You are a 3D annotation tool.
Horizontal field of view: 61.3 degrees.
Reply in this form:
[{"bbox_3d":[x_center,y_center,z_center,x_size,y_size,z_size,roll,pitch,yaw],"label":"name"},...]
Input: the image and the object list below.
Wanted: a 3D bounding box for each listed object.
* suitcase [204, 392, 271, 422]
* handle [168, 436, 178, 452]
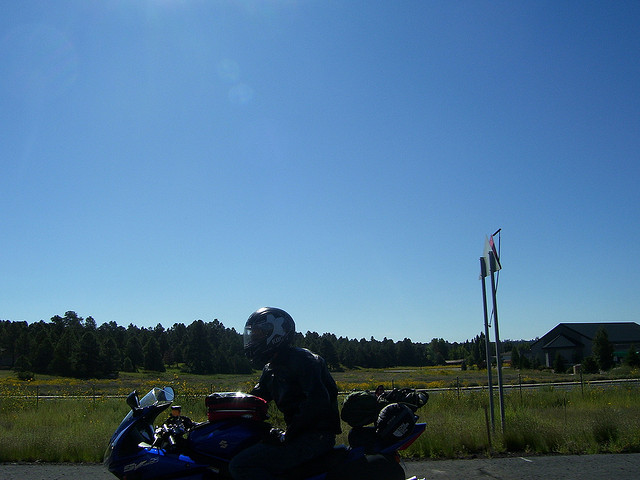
[{"bbox_3d":[-1.165,2.447,7.821,0.616,0.383,0.523,-4,-25,5],"label":"suitcase"},{"bbox_3d":[-2.110,2.931,7.779,0.150,0.165,0.160,-11,-15,-24],"label":"handle"}]
